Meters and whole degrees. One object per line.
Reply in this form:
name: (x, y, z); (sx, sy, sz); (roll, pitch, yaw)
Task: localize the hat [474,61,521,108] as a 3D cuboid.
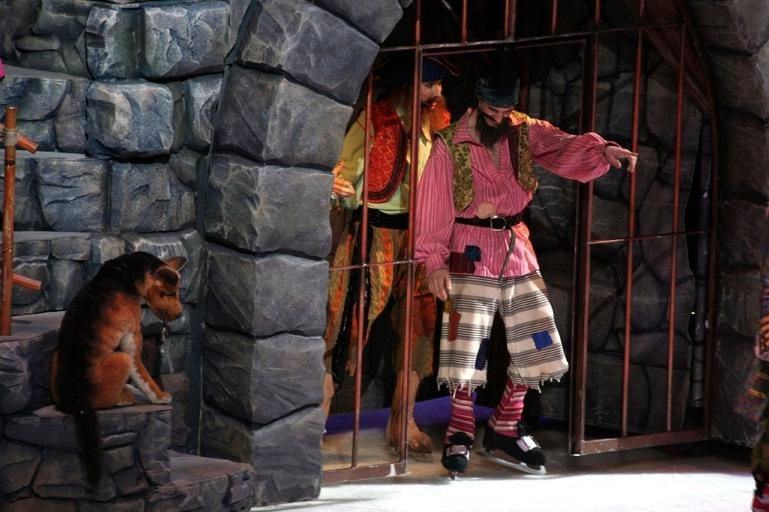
hat: (0.598, -0.889, 5.873); (0.214, 0.186, 0.231); (3, 23, 6)

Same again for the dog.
dog: (-1.215, 0.409, 4.736); (0.442, 0.686, 1.070); (7, 16, 9)

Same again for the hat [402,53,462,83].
hat: (0.229, -0.989, 5.863); (0.219, 0.091, 0.196); (3, 5, 38)

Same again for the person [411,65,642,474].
person: (0.621, 0.088, 5.861); (0.958, 2.109, 0.550); (3, 12, -3)
